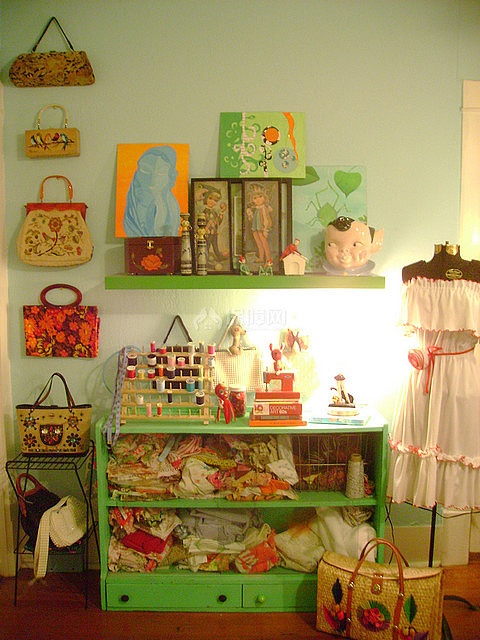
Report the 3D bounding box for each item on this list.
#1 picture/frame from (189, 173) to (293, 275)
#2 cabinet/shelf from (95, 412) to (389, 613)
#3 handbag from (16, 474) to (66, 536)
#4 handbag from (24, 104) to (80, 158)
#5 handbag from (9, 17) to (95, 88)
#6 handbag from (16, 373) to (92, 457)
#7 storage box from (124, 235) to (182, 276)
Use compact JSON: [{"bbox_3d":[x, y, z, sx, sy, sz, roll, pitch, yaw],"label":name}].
[{"bbox_3d":[0.009,-0.437,2.572,0.463,0.420,0.162,1,6,1],"label":"picture/frame"},{"bbox_3d":[0.002,0.838,2.472,0.895,0.592,0.291,0,-1,-1],"label":"cabinet/shelf"},{"bbox_3d":[-0.941,0.861,2.647,0.239,0.259,0.171,7,12,41],"label":"handbag"},{"bbox_3d":[-0.872,-0.893,2.642,0.248,0.227,0.057,-1,-3,0],"label":"handbag"},{"bbox_3d":[-0.856,-1.245,2.610,0.311,0.257,0.103,0,10,-7],"label":"handbag"},{"bbox_3d":[-0.870,0.444,2.671,0.424,0.465,0.118,0,1,-5],"label":"handbag"},{"bbox_3d":[-0.394,-0.297,2.543,0.258,0.178,0.162,0,-1,-1],"label":"storage box"}]
